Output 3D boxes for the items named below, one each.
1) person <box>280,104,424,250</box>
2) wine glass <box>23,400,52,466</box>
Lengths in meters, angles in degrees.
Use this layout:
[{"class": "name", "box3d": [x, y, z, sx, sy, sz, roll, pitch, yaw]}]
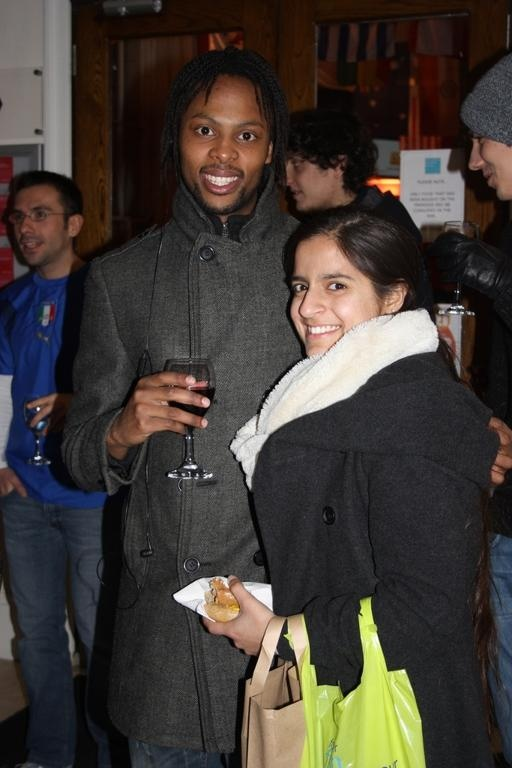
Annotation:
[{"class": "person", "box3d": [0.426, -0.912, 2.934, 0.590, 0.717, 0.349, -8, 38, -2]}, {"class": "wine glass", "box3d": [-0.842, 0.198, 2.454, 0.082, 0.286, 0.240, -1, 18, -18]}]
